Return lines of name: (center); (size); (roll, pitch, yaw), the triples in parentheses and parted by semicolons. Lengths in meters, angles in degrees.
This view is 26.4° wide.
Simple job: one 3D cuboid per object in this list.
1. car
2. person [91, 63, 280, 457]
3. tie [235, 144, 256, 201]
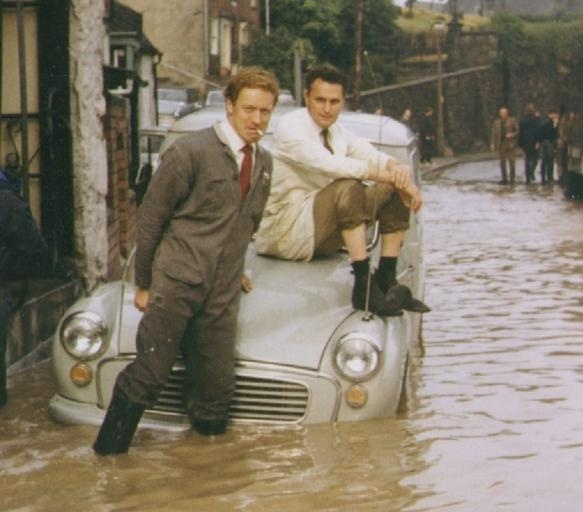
car: (-0.019, -0.005, 9.698); (1.610, 1.657, 3.064); (2, 8, 11)
person: (-0.662, 0.022, 8.210); (1.171, 2.461, 0.415); (-2, 13, -17)
tie: (-0.312, -0.562, 8.277); (0.096, 0.455, 0.055); (-6, -26, 12)
